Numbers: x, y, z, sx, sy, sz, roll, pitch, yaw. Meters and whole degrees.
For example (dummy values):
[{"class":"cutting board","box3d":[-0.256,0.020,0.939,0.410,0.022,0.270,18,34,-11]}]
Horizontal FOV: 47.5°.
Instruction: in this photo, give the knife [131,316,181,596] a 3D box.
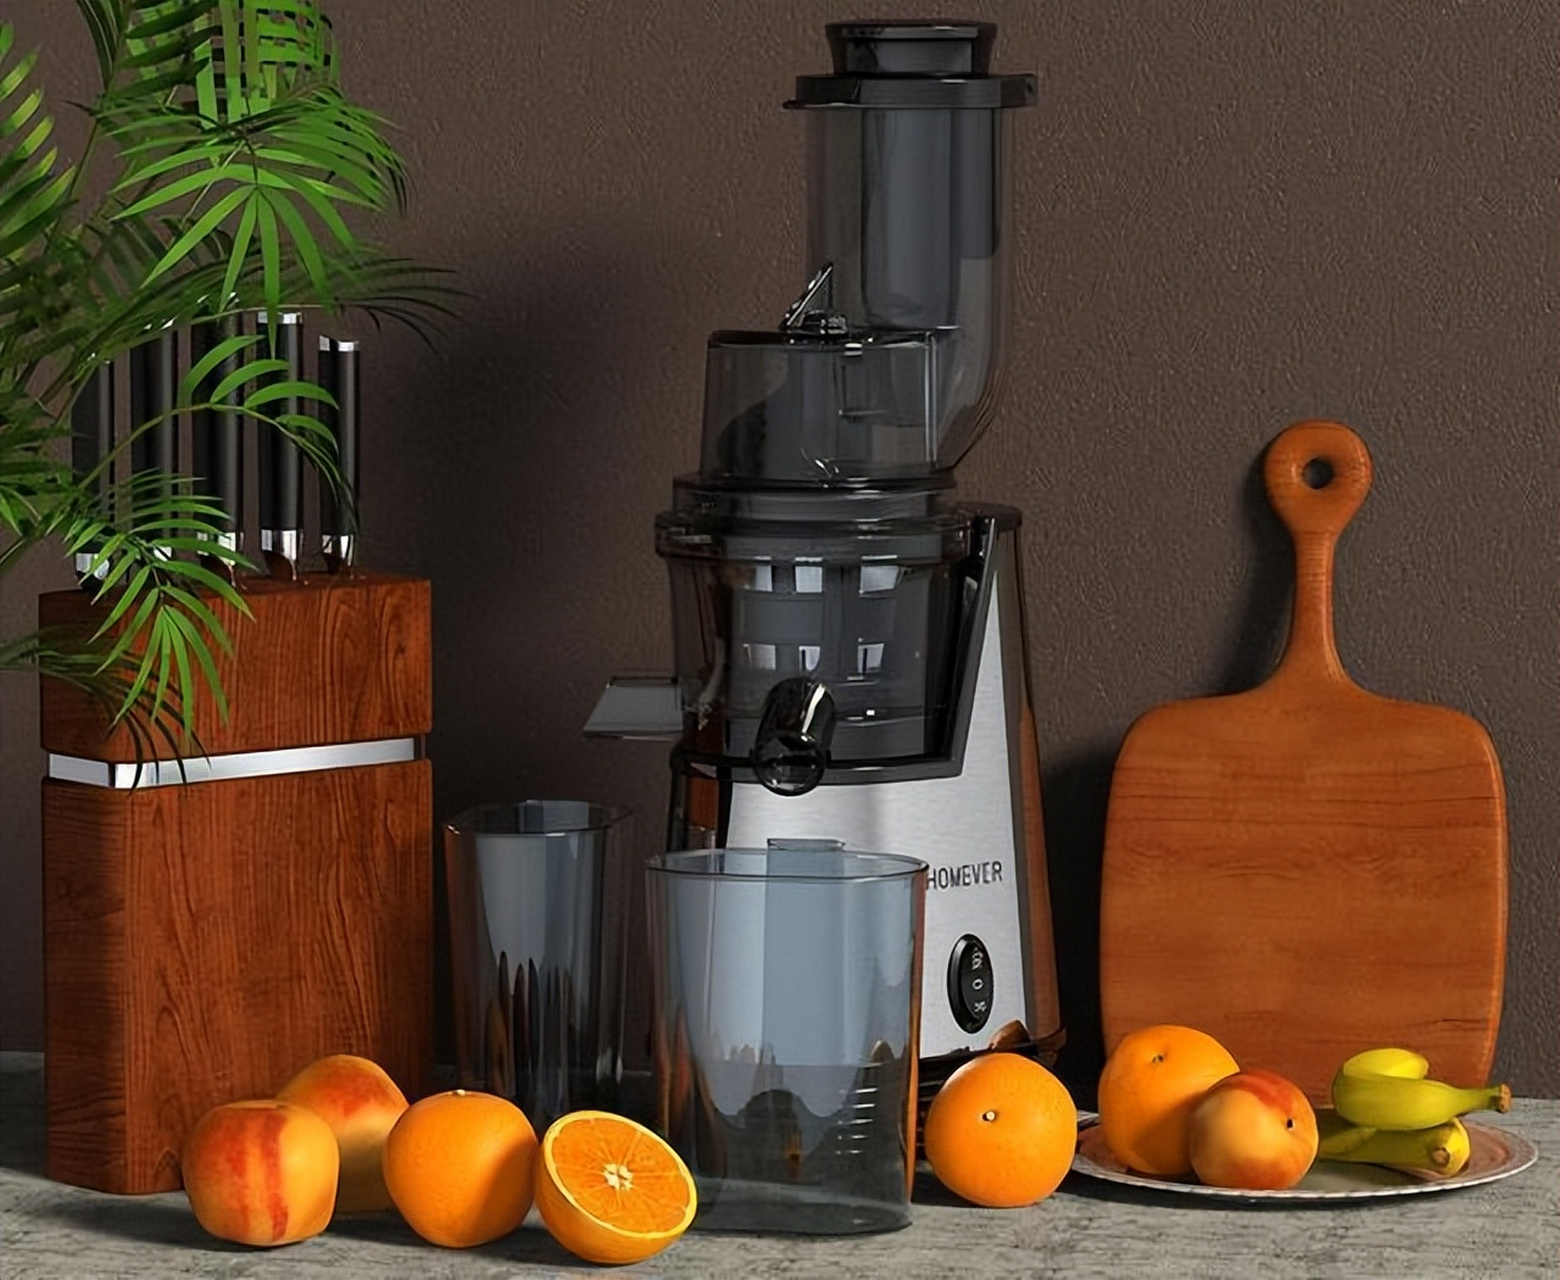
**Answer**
[{"class":"knife","box3d":[-0.362,-0.111,1.027,0.030,0.143,0.279,2,-3,-19]}]

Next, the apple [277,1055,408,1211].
[{"class":"apple","box3d":[-0.247,0.269,1.003,0.073,0.065,0.072,5,1,-7]}]

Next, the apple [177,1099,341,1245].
[{"class":"apple","box3d":[-0.263,0.271,0.931,0.079,0.065,0.078,-2,-1,21]}]

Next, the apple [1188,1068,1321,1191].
[{"class":"apple","box3d":[0.253,0.268,0.958,0.067,0.061,0.048,1,-2,4]}]

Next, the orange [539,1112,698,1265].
[{"class":"orange","box3d":[-0.069,0.269,0.917,0.081,0.074,0.048,-3,17,25]}]

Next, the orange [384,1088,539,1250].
[{"class":"orange","box3d":[-0.163,0.274,0.910,0.093,0.077,0.081,1,-6,0]}]

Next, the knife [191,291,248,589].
[{"class":"knife","box3d":[-0.336,-0.120,1.059,0.034,0.159,0.162,2,-3,-18]}]

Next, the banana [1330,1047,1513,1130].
[{"class":"banana","box3d":[0.341,0.252,0.978,0.059,0.014,0.057,-9,7,-25]}]

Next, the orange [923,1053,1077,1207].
[{"class":"orange","box3d":[0.118,0.260,0.947,0.089,0.076,0.069,-6,-16,31]}]
